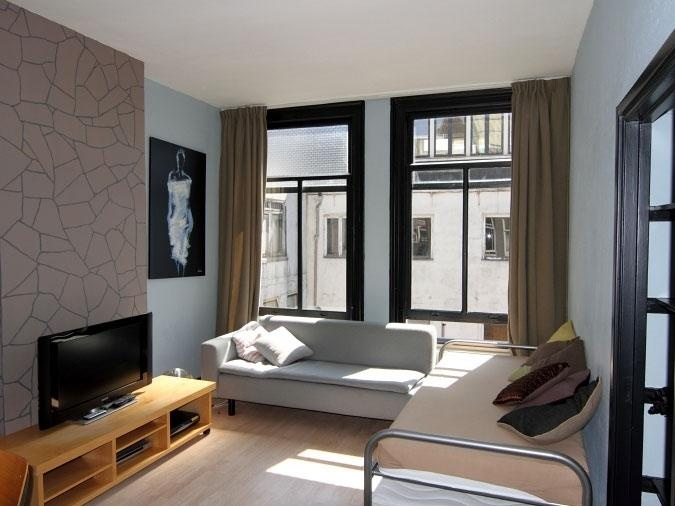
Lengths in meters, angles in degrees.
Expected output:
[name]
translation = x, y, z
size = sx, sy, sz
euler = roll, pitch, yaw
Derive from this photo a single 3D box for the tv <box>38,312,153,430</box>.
[tv]
translation = -1.865, 0.905, 3.809
size = 0.194, 0.603, 0.796
euler = 2, 8, 25
